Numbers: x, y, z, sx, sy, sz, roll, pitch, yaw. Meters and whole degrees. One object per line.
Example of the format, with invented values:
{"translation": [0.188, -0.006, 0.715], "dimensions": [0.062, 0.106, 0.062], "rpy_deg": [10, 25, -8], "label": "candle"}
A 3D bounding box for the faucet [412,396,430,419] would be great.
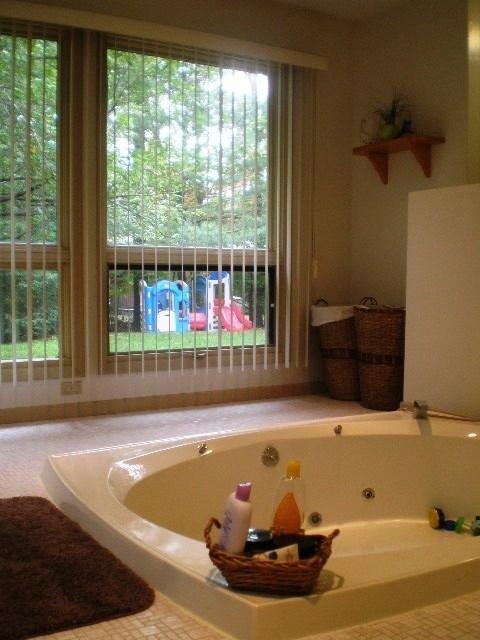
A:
{"translation": [0.675, 0.340, 2.084], "dimensions": [0.055, 0.091, 0.099], "rpy_deg": [-1, -2, -15], "label": "faucet"}
